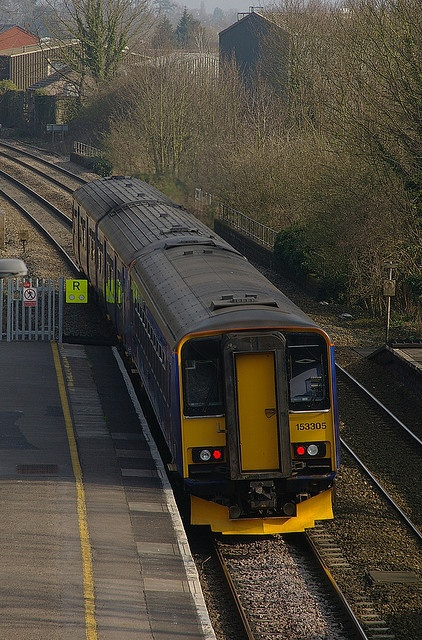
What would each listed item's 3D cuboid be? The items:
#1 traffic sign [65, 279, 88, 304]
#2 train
[{"bbox_3d":[-3.708,-0.760,20.288,0.598,0.742,0.116,4,23,0],"label":"traffic sign"},{"bbox_3d":[-0.930,-0.508,14.423,1.864,2.961,13.454,-2,15,-9],"label":"train"}]
